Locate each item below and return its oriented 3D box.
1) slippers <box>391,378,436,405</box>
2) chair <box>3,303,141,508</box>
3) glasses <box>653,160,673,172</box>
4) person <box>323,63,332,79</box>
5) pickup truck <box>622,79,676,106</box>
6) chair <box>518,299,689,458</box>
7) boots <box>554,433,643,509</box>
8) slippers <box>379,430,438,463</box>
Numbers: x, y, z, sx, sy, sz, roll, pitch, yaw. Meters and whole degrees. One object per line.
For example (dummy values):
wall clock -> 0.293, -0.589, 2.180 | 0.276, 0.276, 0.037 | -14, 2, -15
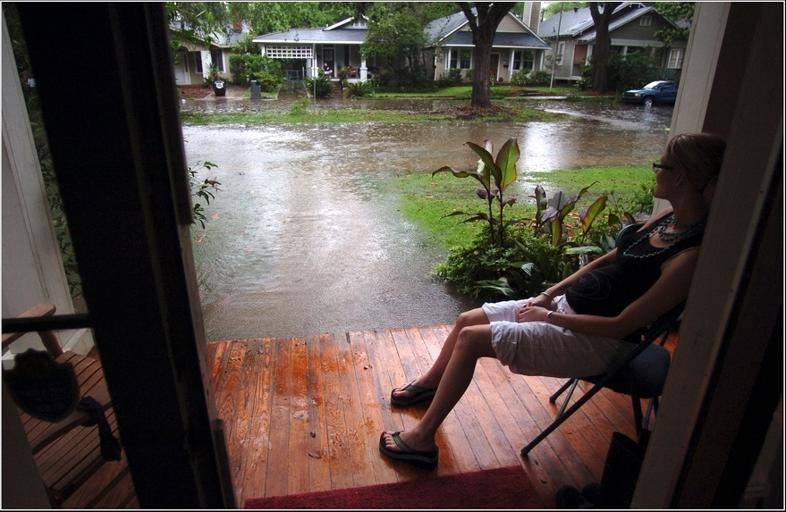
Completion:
slippers -> 0.124, 0.873, 3.147 | 0.288, 0.098, 0.130 | 0, 20, -6
chair -> -1.626, 0.766, 2.410 | 0.374, 0.798, 0.835 | -16, 25, -33
glasses -> 1.301, -0.429, 2.333 | 0.090, 0.026, 0.083 | 1, 19, 0
person -> -3.759, -10.641, 27.922 | 0.522, 0.807, 1.341 | -4, 20, -6
pickup truck -> 12.052, -7.520, 22.516 | 2.285, 1.068, 1.249 | -5, 21, -10
chair -> 1.175, 0.616, 2.689 | 0.598, 0.993, 0.794 | 12, 25, 30
boots -> 1.003, 1.049, 2.355 | 0.327, 0.396, 0.195 | 9, 24, 24
slippers -> 0.073, 1.085, 2.765 | 0.314, 0.115, 0.142 | 14, 14, 15
